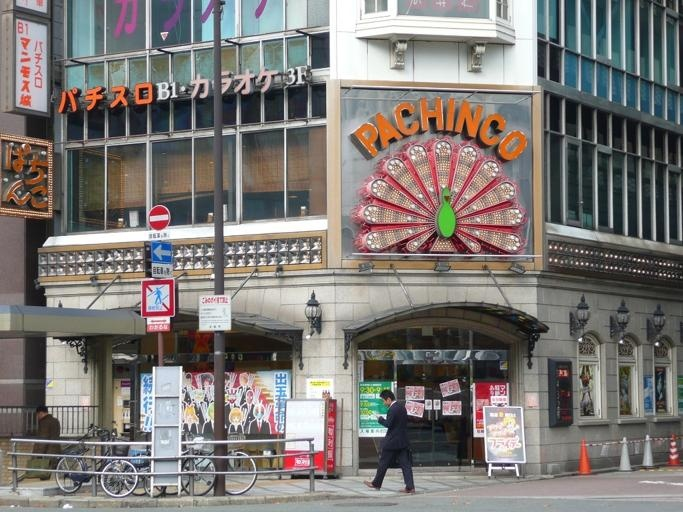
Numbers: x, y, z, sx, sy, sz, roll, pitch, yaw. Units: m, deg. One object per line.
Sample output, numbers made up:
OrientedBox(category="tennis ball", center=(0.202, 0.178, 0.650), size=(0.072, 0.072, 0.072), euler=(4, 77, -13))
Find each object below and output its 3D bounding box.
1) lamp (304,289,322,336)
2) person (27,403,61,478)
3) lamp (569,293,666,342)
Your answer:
OrientedBox(category="lamp", center=(-0.784, 1.534, 42.541), size=(0.436, 1.236, 0.584), euler=(-1, -9, 4))
OrientedBox(category="person", center=(-7.505, 4.744, 40.435), size=(0.890, 1.957, 0.744), euler=(2, -5, -41))
OrientedBox(category="lamp", center=(8.029, 1.899, 46.266), size=(0.817, 1.382, 4.628), euler=(-8, -13, 39))
